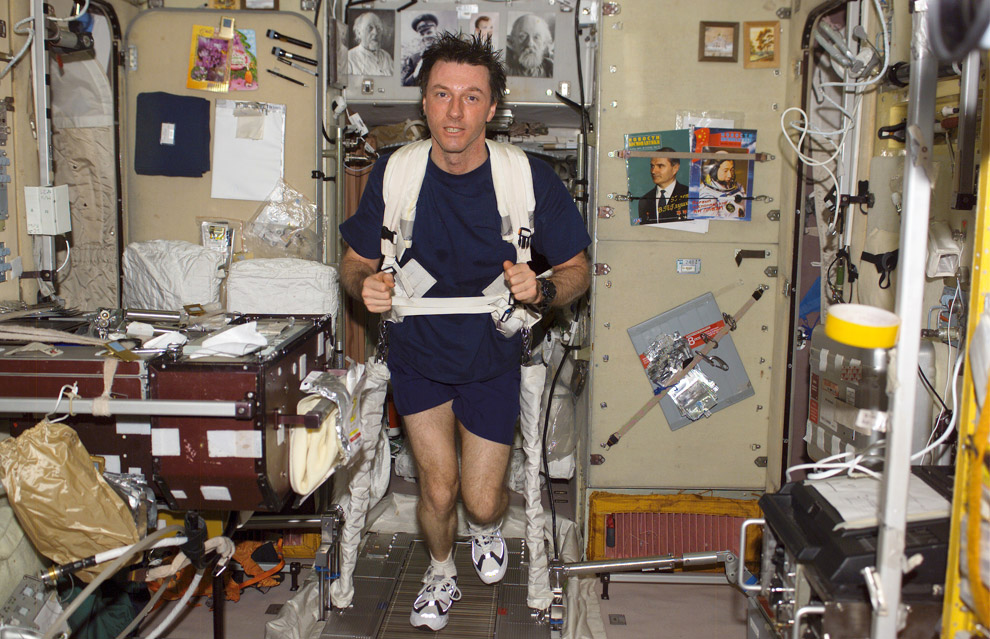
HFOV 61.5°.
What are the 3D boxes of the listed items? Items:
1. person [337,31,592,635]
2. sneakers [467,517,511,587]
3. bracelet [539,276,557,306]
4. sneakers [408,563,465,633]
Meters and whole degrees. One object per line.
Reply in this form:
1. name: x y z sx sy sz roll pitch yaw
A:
1. person: -0.181 0.077 4.401 1.271 3.111 0.676 2 7 0
2. sneakers: -0.019 1.327 4.729 0.152 0.176 0.441 -5 35 -3
3. bracelet: 0.272 -0.144 4.210 0.034 0.121 0.127 -5 -25 20
4. sneakers: -0.330 1.481 4.460 0.166 0.158 0.395 5 9 6
